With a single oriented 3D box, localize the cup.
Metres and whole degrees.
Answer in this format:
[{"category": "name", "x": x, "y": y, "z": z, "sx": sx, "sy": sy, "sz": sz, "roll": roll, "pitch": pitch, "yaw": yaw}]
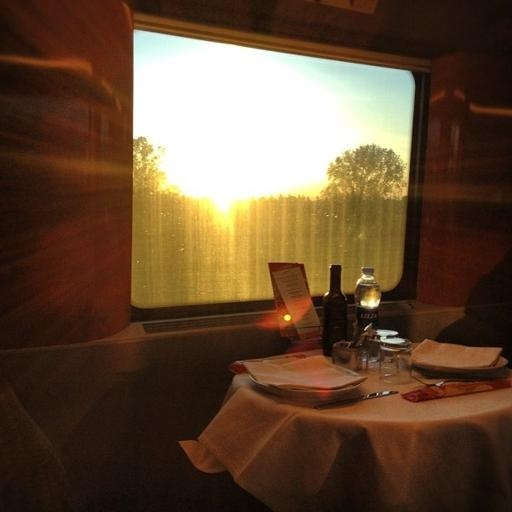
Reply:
[{"category": "cup", "x": 0.355, "y": 0.307, "z": 1.382, "sx": 0.153, "sy": 0.106, "sz": 0.229, "roll": -2, "pitch": 6, "yaw": -32}]
